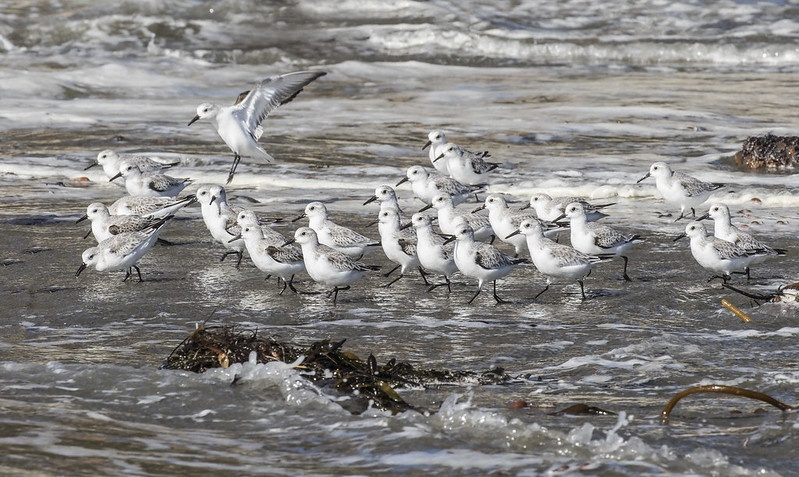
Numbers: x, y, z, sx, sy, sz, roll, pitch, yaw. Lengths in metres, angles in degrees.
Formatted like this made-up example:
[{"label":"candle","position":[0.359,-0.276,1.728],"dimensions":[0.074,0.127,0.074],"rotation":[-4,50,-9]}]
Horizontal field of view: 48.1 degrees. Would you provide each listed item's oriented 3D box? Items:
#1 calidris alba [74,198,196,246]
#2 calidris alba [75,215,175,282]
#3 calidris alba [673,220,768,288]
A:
[{"label":"calidris alba","position":[-4.885,-0.259,16.431],"dimensions":[0.742,0.794,2.079],"rotation":[22,27,40]},{"label":"calidris alba","position":[-4.701,0.275,15.054],"dimensions":[1.583,0.928,0.724],"rotation":[-10,16,-22]},{"label":"calidris alba","position":[5.481,0.222,15.196],"dimensions":[0.968,0.972,0.832],"rotation":[-15,18,-25]}]
